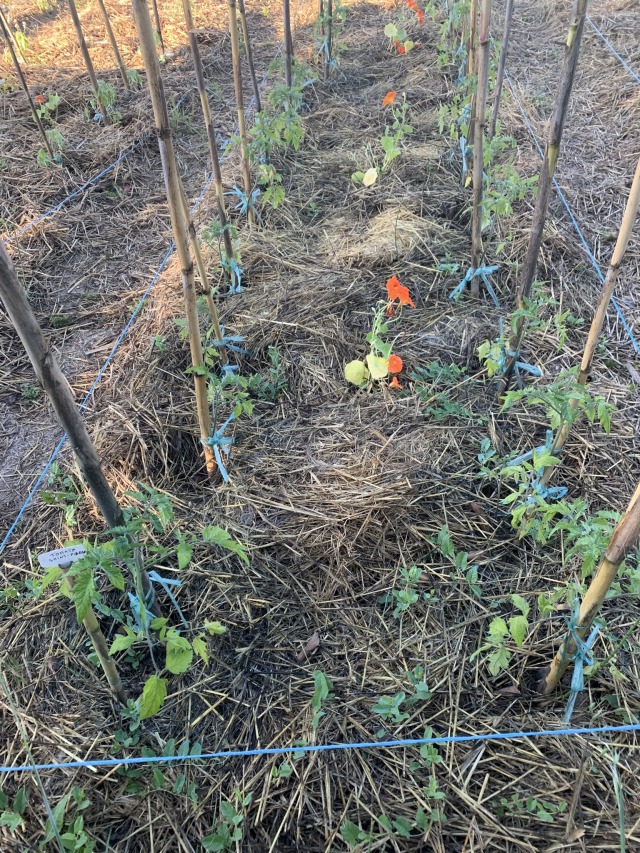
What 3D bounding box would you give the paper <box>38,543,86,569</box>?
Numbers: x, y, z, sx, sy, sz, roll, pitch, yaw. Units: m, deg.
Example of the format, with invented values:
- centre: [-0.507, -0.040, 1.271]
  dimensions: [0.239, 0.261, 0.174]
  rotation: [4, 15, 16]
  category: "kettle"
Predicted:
- centre: [-0.567, 0.282, 1.468]
  dimensions: [0.119, 0.048, 0.023]
  rotation: [-10, 0, 6]
  category: "paper"
